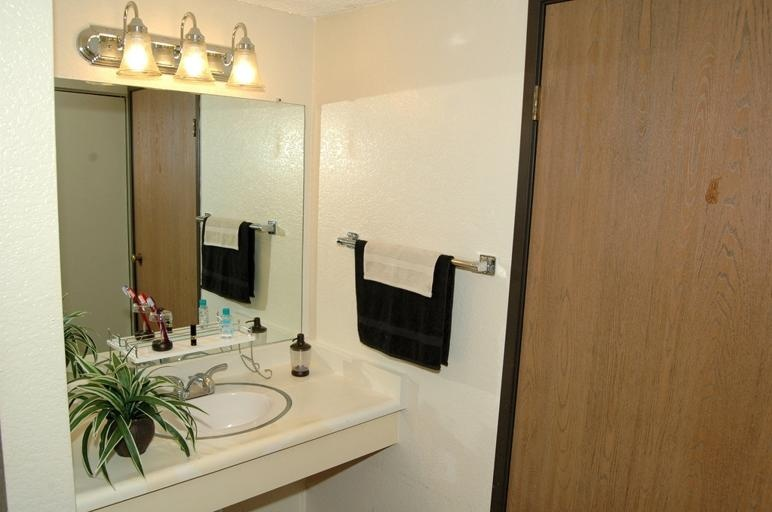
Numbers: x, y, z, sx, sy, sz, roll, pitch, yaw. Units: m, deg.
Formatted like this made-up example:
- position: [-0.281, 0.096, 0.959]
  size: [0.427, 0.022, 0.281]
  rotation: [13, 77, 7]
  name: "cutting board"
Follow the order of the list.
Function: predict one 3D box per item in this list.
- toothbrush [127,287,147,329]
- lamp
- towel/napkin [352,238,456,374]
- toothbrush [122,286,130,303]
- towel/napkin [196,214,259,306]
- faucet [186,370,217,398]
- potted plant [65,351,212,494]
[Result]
- position: [-1.144, 0.240, 2.690]
  size: [0.033, 0.197, 0.030]
  rotation: [-10, 21, 18]
  name: "toothbrush"
- position: [-0.950, -0.885, 2.570]
  size: [0.821, 0.339, 0.323]
  rotation: [-5, 22, -38]
  name: "lamp"
- position: [0.099, 0.209, 2.638]
  size: [0.557, 0.565, 0.077]
  rotation: [12, 15, 39]
  name: "towel/napkin"
- position: [-1.183, 0.169, 2.668]
  size: [0.016, 0.055, 0.033]
  rotation: [-17, 12, 22]
  name: "toothbrush"
- position: [-0.799, 0.014, 2.914]
  size: [0.381, 0.502, 0.110]
  rotation: [8, 15, 8]
  name: "towel/napkin"
- position: [-0.855, 0.594, 2.730]
  size: [0.096, 0.091, 0.123]
  rotation: [6, 15, 16]
  name: "faucet"
- position: [-1.032, 0.581, 2.315]
  size: [0.505, 0.335, 0.494]
  rotation: [8, 8, 44]
  name: "potted plant"
